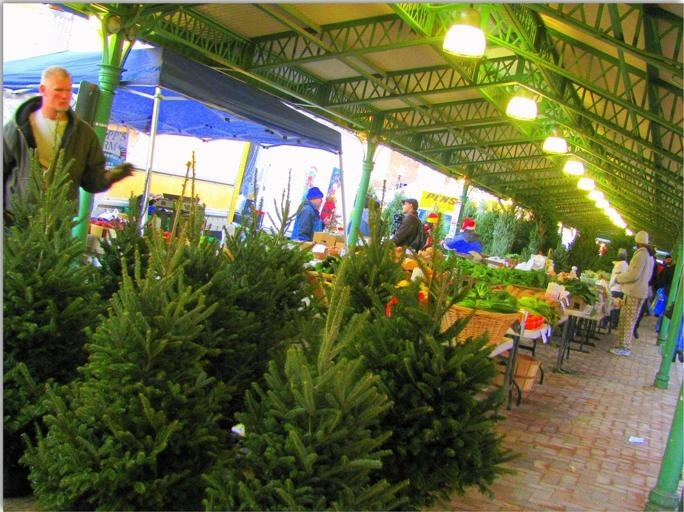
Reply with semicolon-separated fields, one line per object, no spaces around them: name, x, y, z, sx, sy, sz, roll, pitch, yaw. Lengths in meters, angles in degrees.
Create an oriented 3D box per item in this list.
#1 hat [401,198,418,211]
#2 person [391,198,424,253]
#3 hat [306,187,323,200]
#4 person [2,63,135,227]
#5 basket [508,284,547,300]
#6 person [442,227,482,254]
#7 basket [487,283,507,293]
hat;1.188;-0.935;8.255;0.255;0.147;0.190;28;19;18
person;1.277;-0.574;8.224;0.614;0.854;2.357;10;3;6
hat;-0.400;-0.960;7.105;0.201;0.166;0.466;9;3;-7
person;-1.733;-0.687;2.911;0.598;0.979;1.206;7;4;-38
basket;2.474;0.476;6.239;0.348;0.132;0.318;3;-3;13
person;2.864;-0.355;10.860;0.569;0.549;0.934;11;4;29
basket;1.637;0.339;4.924;0.189;0.048;0.205;5;5;28
